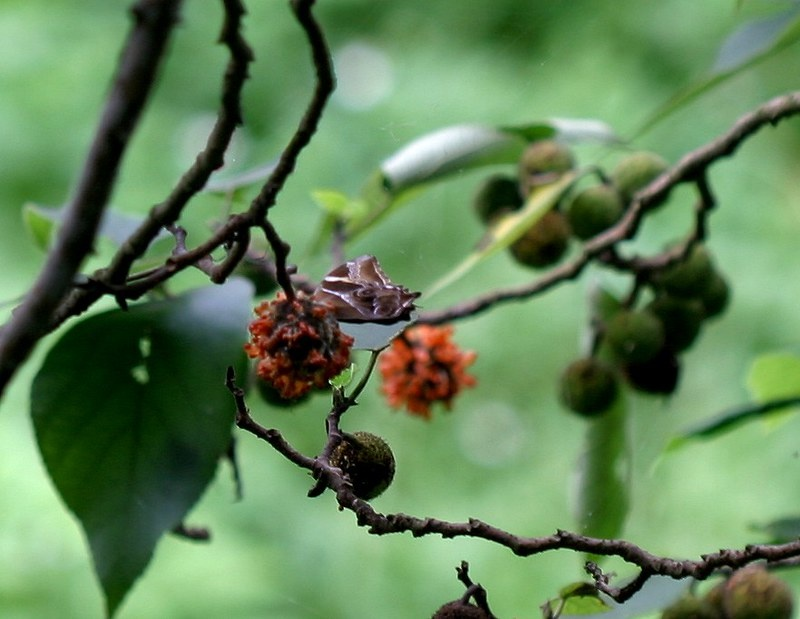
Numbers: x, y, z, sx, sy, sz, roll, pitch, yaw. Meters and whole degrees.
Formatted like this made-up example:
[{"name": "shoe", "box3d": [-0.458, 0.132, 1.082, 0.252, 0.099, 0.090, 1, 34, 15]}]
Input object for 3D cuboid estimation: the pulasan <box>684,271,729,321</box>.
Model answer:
[{"name": "pulasan", "box3d": [0.347, -0.024, 1.235, 0.047, 0.063, 0.020, -21, -81, 33]}]
